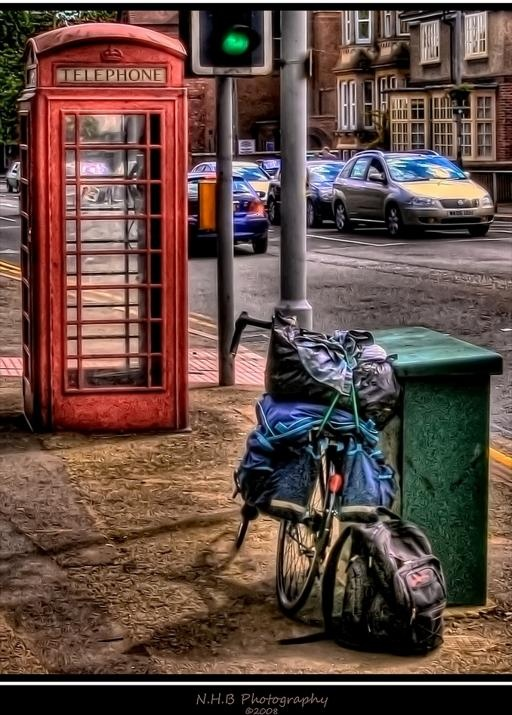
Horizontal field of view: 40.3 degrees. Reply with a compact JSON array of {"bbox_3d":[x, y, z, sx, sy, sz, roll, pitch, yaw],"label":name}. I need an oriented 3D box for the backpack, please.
[{"bbox_3d":[0.417,0.737,2.271,0.309,0.403,0.376,7,-13,-39],"label":"backpack"}]

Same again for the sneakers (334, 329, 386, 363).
[{"bbox_3d":[0.377,-0.039,2.475,0.116,0.053,0.148,6,3,-39],"label":"sneakers"}]

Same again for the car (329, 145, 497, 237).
[{"bbox_3d":[4.625,-5.117,21.527,2.266,2.809,4.734,-4,8,-37],"label":"car"}]

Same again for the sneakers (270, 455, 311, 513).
[{"bbox_3d":[0.124,0.429,2.324,0.144,0.182,0.112,1,7,5],"label":"sneakers"}]
